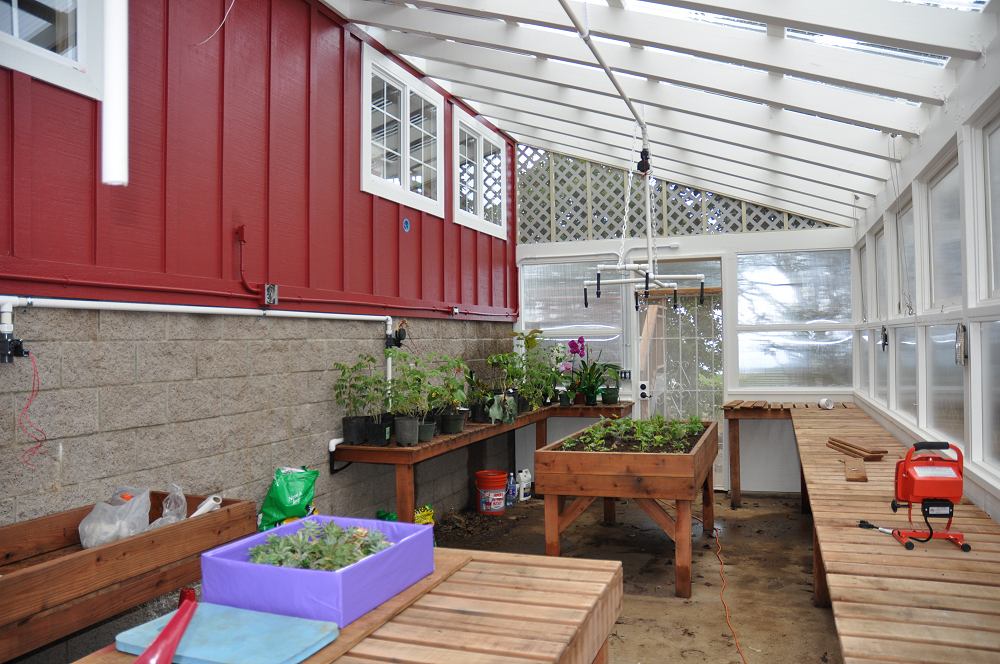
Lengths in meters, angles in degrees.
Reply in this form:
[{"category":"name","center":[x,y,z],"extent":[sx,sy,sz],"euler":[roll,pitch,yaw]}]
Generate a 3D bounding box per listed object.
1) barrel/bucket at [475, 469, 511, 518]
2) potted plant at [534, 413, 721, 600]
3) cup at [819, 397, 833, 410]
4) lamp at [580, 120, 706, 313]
[{"category":"barrel/bucket","center":[-0.100,1.804,7.328],"extent":[0.455,0.436,0.458],"euler":[0,-7,0]},{"category":"potted plant","center":[1.260,1.471,5.882],"extent":[1.353,0.948,2.087],"euler":[-3,-6,28]},{"category":"cup","center":[3.604,0.788,7.181],"extent":[0.123,0.140,0.109],"euler":[-8,-31,24]},{"category":"lamp","center":[1.751,-1.394,7.708],"extent":[1.153,1.976,2.284],"euler":[0,1,23]}]
